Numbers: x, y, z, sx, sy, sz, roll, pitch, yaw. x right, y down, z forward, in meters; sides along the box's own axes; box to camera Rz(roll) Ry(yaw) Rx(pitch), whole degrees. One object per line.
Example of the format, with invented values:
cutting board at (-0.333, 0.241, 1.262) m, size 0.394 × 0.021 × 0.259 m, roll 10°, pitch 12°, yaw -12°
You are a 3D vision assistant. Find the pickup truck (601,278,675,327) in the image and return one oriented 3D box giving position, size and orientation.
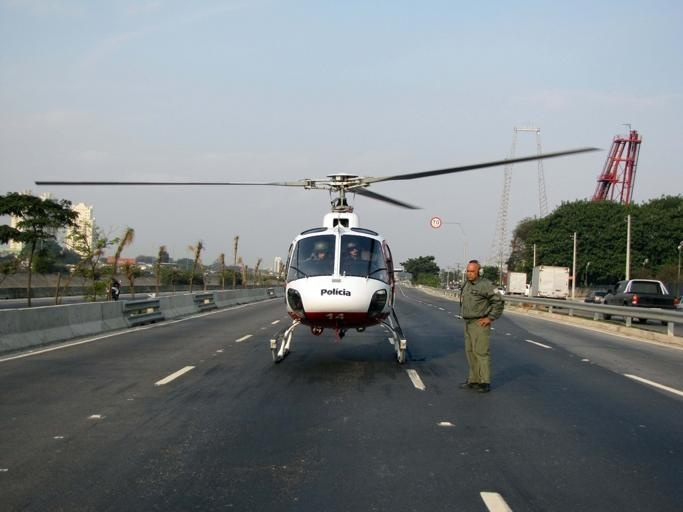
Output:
pickup truck at (14.880, 2.268, 26.387) m, size 1.941 × 2.068 × 3.233 m, roll -1°, pitch 1°, yaw -4°

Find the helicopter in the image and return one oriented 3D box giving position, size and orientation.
helicopter at (0.402, 0.258, 11.999) m, size 4.114 × 4.597 × 6.975 m, roll -1°, pitch 1°, yaw -9°

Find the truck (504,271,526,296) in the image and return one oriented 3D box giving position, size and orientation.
truck at (19.500, 3.225, 58.561) m, size 1.977 × 2.304 × 3.288 m, roll 3°, pitch -3°, yaw 7°

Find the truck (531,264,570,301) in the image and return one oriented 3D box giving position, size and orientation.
truck at (19.358, 2.551, 49.086) m, size 2.597 × 3.272 × 4.573 m, roll 0°, pitch -1°, yaw 5°
